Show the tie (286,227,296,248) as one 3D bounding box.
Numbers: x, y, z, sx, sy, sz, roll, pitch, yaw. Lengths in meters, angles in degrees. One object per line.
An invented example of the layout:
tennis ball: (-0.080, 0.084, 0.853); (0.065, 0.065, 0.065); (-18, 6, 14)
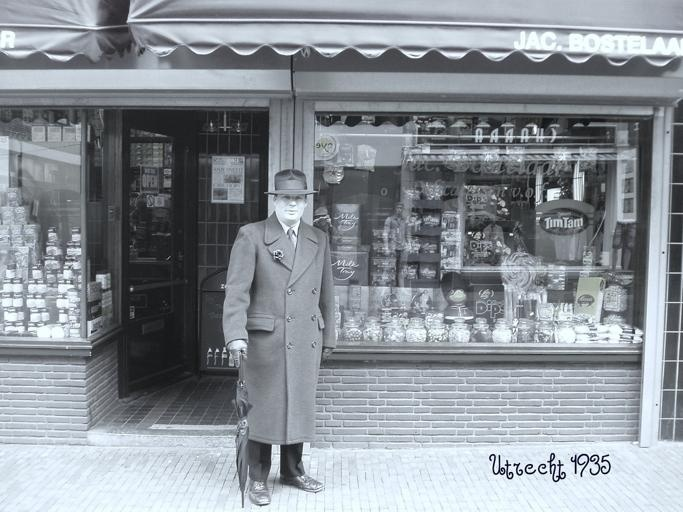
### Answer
tie: (-0.419, -0.159, 6.387); (0.046, 0.178, 0.048); (-15, 3, -8)

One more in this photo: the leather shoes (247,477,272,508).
leather shoes: (-0.668, 1.940, 6.292); (0.103, 0.117, 0.292); (1, -2, -15)

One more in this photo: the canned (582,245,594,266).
canned: (2.467, 0.001, 7.689); (0.109, 0.196, 0.051); (2, 6, 16)

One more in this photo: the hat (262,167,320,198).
hat: (-0.414, -0.645, 6.702); (0.433, 0.187, 0.480); (0, 2, -8)

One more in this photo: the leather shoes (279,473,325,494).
leather shoes: (-0.320, 1.895, 6.512); (0.380, 0.151, 0.138); (4, 4, 17)

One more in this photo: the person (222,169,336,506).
person: (-0.505, 0.653, 6.371); (0.931, 2.717, 0.492); (-1, 5, -10)
